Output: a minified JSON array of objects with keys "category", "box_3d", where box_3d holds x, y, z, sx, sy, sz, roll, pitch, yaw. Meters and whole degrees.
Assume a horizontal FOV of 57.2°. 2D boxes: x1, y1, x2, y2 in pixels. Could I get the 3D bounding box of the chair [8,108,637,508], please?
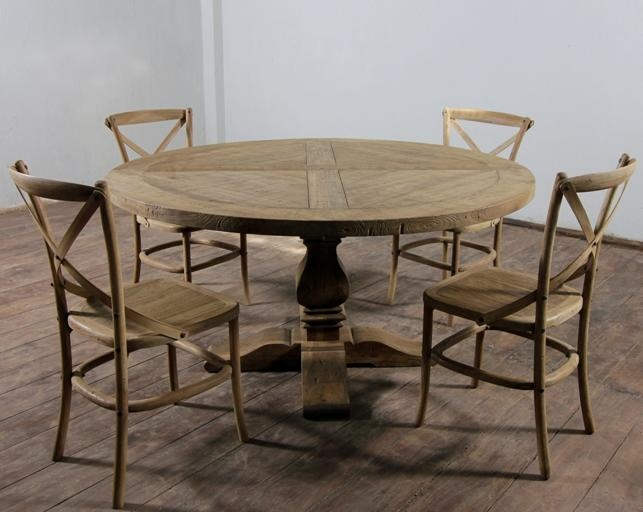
[{"category":"chair","box_3d":[-0.064,0.044,2.841,1.696,0.917,2.530,4,10,20]}]
